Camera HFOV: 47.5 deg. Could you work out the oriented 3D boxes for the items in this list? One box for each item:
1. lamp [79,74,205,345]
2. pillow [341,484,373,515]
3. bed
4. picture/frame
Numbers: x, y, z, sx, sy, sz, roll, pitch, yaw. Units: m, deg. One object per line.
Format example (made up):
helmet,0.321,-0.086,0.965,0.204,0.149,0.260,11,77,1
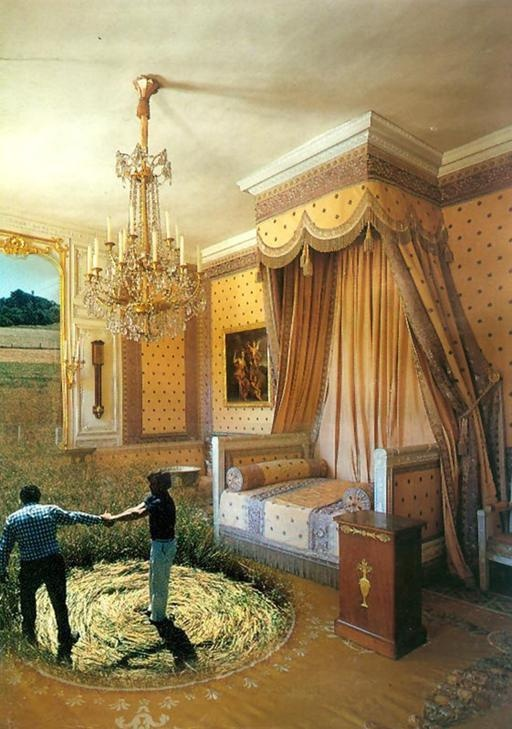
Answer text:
lamp,-0.820,-1.309,4.411,0.912,1.616,0.895,-7,13,-30
pillow,0.726,0.969,4.181,0.058,0.190,0.184,1,-11,-40
bed,0.429,1.158,5.019,1.474,0.924,1.070,-3,-3,43
picture/frame,-0.111,0.011,7.871,0.101,1.325,1.124,6,-10,-45
